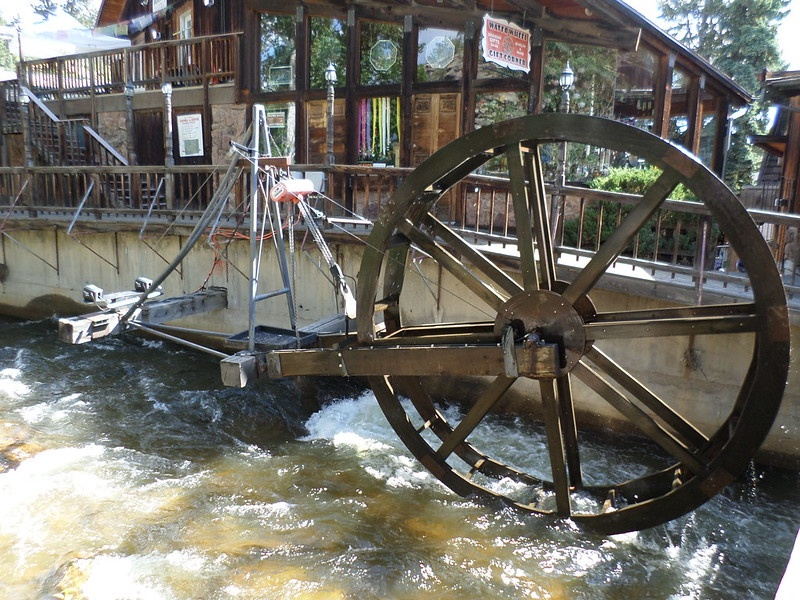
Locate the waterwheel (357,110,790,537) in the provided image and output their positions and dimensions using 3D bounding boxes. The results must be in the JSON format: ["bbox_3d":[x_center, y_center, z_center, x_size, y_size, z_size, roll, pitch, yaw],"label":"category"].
[{"bbox_3d":[1.885,0.427,7.383,4.179,4.496,1.181,-23,-2,19],"label":"waterwheel"}]

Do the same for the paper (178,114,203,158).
[{"bbox_3d":[-4.732,-3.716,14.550,0.807,1.202,0.091,8,16,21],"label":"paper"}]

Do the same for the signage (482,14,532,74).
[{"bbox_3d":[1.710,-4.088,10.217,1.046,0.743,0.042,-5,7,-44],"label":"signage"}]
